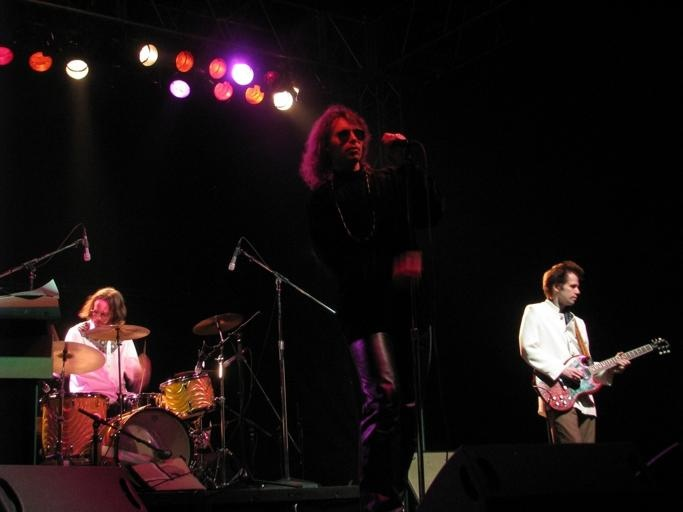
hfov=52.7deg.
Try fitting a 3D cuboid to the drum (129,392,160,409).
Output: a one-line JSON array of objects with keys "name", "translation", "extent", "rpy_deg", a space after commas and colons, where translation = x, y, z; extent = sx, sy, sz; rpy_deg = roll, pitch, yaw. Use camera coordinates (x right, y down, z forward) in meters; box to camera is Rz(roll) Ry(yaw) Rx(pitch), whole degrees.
[{"name": "drum", "translation": [-1.978, 1.440, 6.886], "extent": [0.198, 0.078, 0.164], "rpy_deg": [-4, -16, -12]}]

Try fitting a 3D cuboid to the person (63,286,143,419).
[{"name": "person", "translation": [-2.469, 1.026, 7.052], "extent": [0.908, 1.350, 0.754], "rpy_deg": [4, -23, -32]}]

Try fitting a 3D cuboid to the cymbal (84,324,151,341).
[{"name": "cymbal", "translation": [-2.250, 0.783, 6.888], "extent": [0.583, 0.201, 0.374], "rpy_deg": [7, -18, -22]}]

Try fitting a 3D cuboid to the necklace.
[{"name": "necklace", "translation": [0.122, -0.317, 5.037], "extent": [0.234, 0.549, 0.080], "rpy_deg": [-8, -18, -3]}]

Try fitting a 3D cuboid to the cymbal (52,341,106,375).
[{"name": "cymbal", "translation": [-2.477, 0.995, 6.502], "extent": [0.449, 0.293, 0.699], "rpy_deg": [5, -18, -19]}]

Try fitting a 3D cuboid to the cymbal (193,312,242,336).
[{"name": "cymbal", "translation": [-1.270, 0.712, 7.209], "extent": [0.438, 0.182, 0.344], "rpy_deg": [-7, -18, 20]}]

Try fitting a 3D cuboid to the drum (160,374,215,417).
[{"name": "drum", "translation": [-1.529, 1.470, 6.874], "extent": [0.425, 0.324, 0.446], "rpy_deg": [-13, -13, -3]}]
